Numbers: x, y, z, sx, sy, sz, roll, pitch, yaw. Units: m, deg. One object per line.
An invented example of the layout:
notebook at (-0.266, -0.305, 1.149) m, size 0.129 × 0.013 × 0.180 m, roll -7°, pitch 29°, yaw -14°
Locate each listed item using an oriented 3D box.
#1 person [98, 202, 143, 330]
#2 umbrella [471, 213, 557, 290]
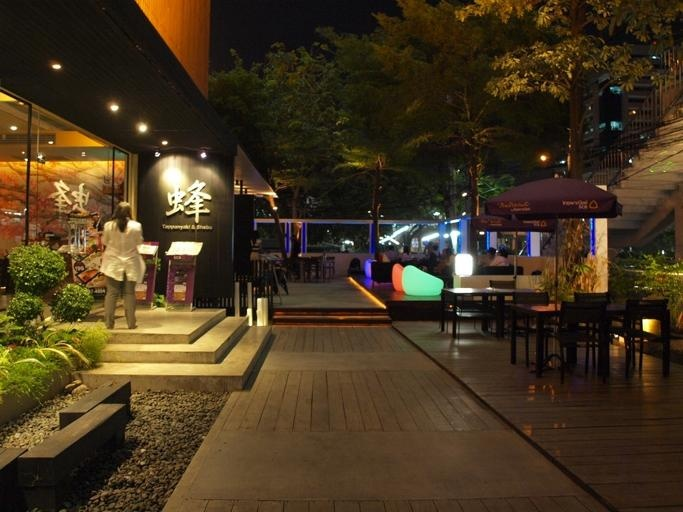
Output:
person at (-3.256, 0.174, 8.581) m, size 0.588 × 1.887 × 0.562 m, roll -4°, pitch 10°, yaw -20°
umbrella at (3.471, -0.183, 11.741) m, size 1.480 × 1.615 × 1.409 m, roll -1°, pitch 4°, yaw -43°
